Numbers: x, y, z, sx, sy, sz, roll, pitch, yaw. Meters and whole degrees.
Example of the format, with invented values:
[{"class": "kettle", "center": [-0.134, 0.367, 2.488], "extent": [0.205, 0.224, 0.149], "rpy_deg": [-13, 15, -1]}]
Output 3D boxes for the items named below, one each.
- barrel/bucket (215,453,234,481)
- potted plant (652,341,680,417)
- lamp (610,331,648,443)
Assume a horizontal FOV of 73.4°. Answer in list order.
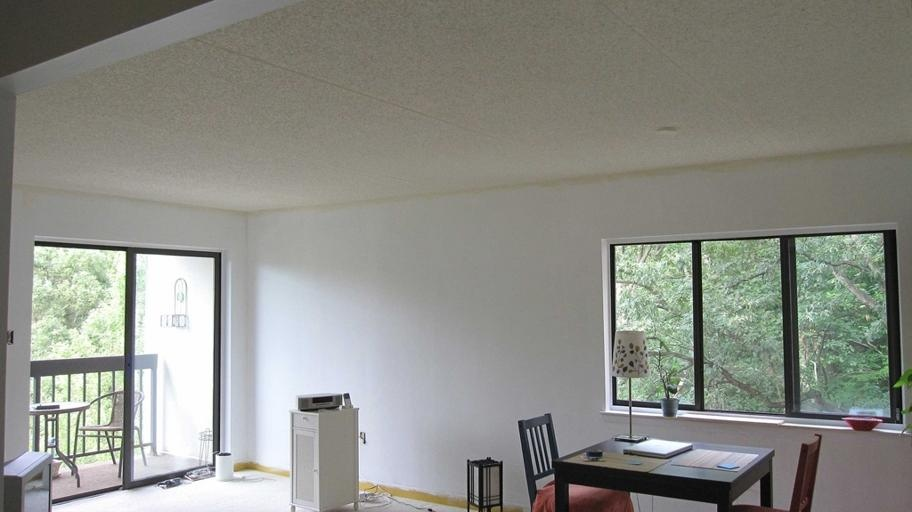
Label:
[{"class": "barrel/bucket", "center": [-2.954, 2.672, 7.787], "extent": [0.231, 0.328, 0.169], "rpy_deg": [2, -7, -10]}, {"class": "potted plant", "center": [2.149, 1.235, 6.303], "extent": [0.312, 0.803, 0.230], "rpy_deg": [-2, -7, 17]}, {"class": "lamp", "center": [1.670, 1.222, 5.848], "extent": [0.305, 1.029, 0.808], "rpy_deg": [-2, -7, 17]}]
